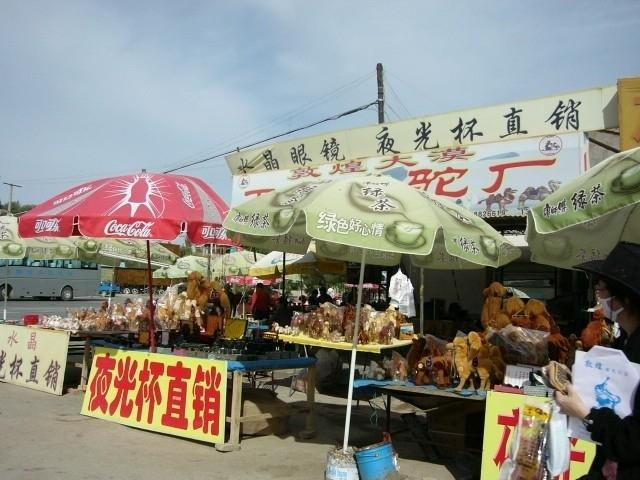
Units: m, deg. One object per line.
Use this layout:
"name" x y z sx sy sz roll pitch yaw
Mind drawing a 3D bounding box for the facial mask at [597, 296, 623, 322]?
"facial mask" 1.610 0.415 2.642 0.126 0.075 0.121 -32 4 19

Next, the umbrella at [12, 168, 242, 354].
"umbrella" -2.618 0.050 6.372 2.546 2.043 2.480 1 -5 -24

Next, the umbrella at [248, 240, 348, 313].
"umbrella" -0.699 1.094 12.625 3.360 2.209 3.214 0 -9 5

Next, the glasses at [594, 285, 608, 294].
"glasses" 1.600 0.291 2.662 0.031 0.048 0.046 0 -13 39

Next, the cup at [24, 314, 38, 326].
"cup" -5.188 1.469 8.389 0.212 0.206 0.216 -3 -9 0
